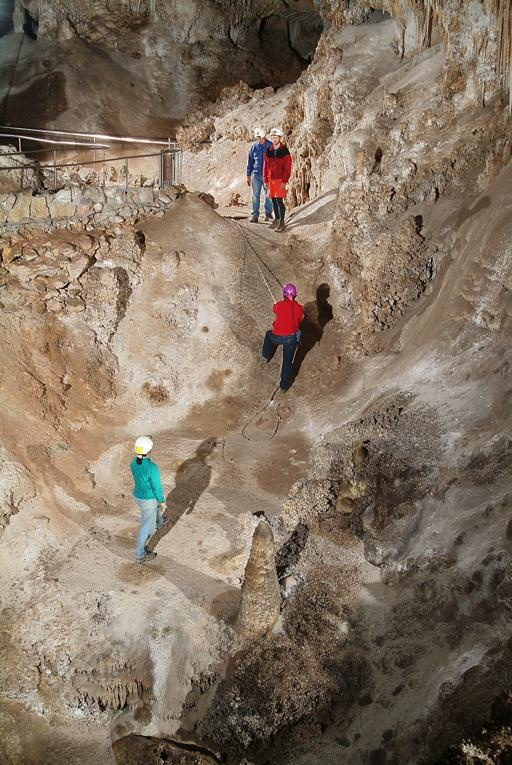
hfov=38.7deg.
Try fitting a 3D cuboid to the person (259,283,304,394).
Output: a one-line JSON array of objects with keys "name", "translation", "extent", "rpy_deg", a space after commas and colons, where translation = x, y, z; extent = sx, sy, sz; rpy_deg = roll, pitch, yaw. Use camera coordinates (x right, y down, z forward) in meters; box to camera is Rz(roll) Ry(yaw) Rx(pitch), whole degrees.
[{"name": "person", "translation": [0.357, -0.625, 10.303], "extent": [0.556, 1.597, 0.969], "rpy_deg": [-2, 16, 0]}]

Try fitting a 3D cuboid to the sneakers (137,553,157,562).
[{"name": "sneakers", "translation": [-1.238, 1.994, 8.354], "extent": [0.234, 0.091, 0.078], "rpy_deg": [-2, 13, -42]}]

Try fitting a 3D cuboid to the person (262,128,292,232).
[{"name": "person", "translation": [0.344, -3.358, 12.193], "extent": [0.437, 1.668, 0.926], "rpy_deg": [-2, 16, 1]}]

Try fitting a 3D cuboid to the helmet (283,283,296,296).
[{"name": "helmet", "translation": [0.458, -1.260, 9.867], "extent": [0.174, 0.186, 0.195], "rpy_deg": [4, 8, 20]}]

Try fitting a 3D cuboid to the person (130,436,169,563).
[{"name": "person", "translation": [-1.197, 1.300, 8.007], "extent": [0.346, 1.560, 0.566], "rpy_deg": [-5, 17, -10]}]

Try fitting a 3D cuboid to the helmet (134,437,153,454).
[{"name": "helmet", "translation": [-1.194, 0.692, 7.760], "extent": [0.160, 0.257, 0.235], "rpy_deg": [-5, 16, -12]}]
